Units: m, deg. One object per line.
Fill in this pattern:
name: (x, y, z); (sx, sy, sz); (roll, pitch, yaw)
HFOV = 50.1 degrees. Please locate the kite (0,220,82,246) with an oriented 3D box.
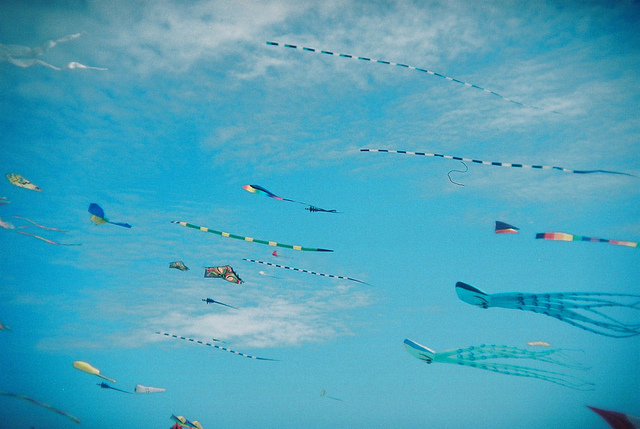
kite: (-3.798, 0.282, 9.562); (1.288, 0.059, 0.300); (12, -85, -4)

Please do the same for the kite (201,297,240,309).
kite: (-1.366, 1.248, 9.553); (0.446, 0.039, 0.127); (16, -83, -3)

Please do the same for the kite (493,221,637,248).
kite: (3.452, 0.250, 9.038); (2.509, 0.306, 0.215); (2, -86, 1)

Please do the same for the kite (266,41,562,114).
kite: (1.427, -1.921, 9.443); (3.540, 0.255, 0.148); (13, -96, -6)

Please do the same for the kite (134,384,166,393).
kite: (-2.354, 2.407, 9.433); (0.516, 0.134, 0.114); (3, -76, -2)

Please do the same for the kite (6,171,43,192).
kite: (-4.098, -0.439, 9.446); (0.538, 0.024, 0.143); (26, -93, -2)

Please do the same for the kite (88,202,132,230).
kite: (-2.861, 0.031, 9.504); (0.680, 0.216, 0.164); (20, -17, -12)

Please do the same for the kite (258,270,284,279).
kite: (-0.693, 0.855, 9.564); (0.426, 0.027, 0.099); (13, -96, -2)
